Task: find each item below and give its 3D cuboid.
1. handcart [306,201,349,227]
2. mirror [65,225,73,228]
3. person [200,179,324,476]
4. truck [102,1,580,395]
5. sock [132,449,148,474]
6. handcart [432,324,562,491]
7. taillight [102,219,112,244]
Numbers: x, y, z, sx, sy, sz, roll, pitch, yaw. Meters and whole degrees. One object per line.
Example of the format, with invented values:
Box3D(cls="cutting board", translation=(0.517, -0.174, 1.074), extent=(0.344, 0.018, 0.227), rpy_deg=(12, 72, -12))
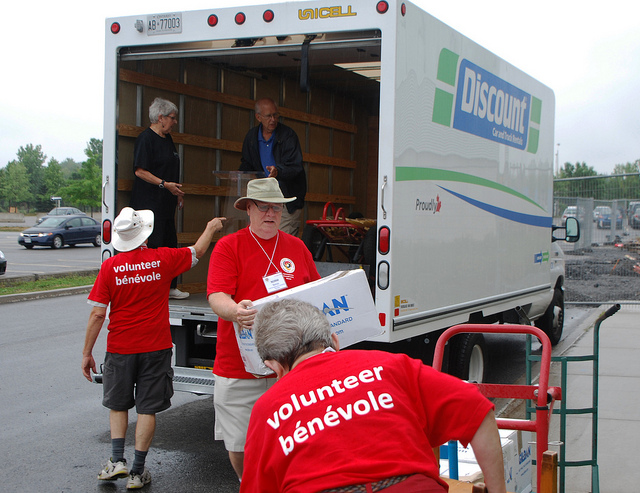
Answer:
Box3D(cls="handcart", translation=(0.080, -0.309, 6.339), extent=(0.335, 0.268, 0.374), rpy_deg=(3, -1, 21))
Box3D(cls="mirror", translation=(-13.320, -1.131, 29.683), extent=(0.082, 0.136, 0.316), rpy_deg=(6, 10, 32))
Box3D(cls="person", translation=(-0.363, 0.728, 3.869), extent=(0.848, 2.332, 0.844), rpy_deg=(-4, 9, -36))
Box3D(cls="truck", translation=(0.755, -0.624, 7.468), extent=(2.980, 4.044, 6.541), rpy_deg=(0, 0, 32))
Box3D(cls="sock", translation=(-1.484, 1.746, 4.582), extent=(0.106, 0.223, 0.127), rpy_deg=(-2, 8, -23))
Box3D(cls="handcart", translation=(1.070, 0.982, 3.356), extent=(0.640, 1.123, 0.942), rpy_deg=(5, 9, 28))
Box3D(cls="taillight", translation=(-2.159, -0.159, 5.671), extent=(0.142, 0.249, 0.046), rpy_deg=(6, 8, 31))
